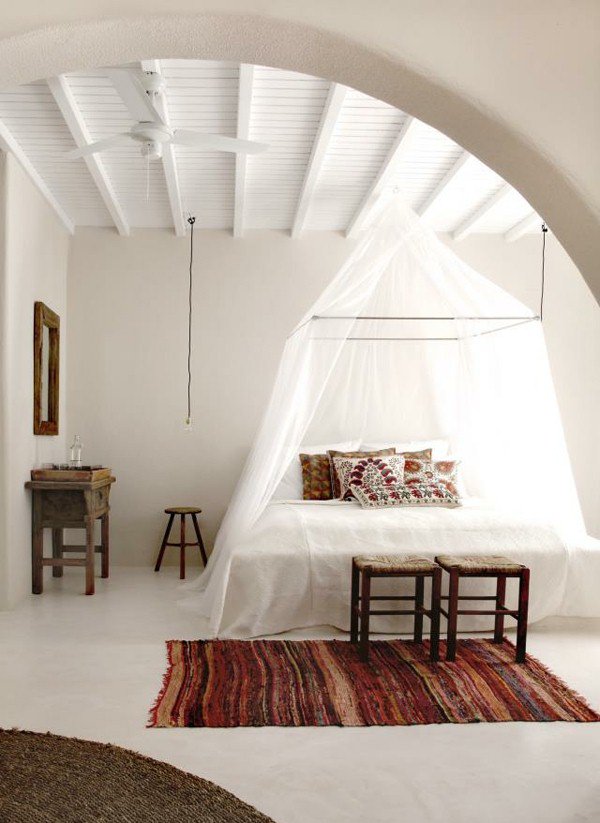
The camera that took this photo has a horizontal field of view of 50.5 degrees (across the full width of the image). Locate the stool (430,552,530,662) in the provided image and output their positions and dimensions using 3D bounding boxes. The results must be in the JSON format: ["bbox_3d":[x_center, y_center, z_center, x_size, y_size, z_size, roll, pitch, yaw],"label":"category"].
[{"bbox_3d":[0.884,0.892,3.146,0.558,0.595,0.457,1,-7,0],"label":"stool"}]

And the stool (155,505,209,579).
[{"bbox_3d":[-0.893,0.985,4.841,0.468,0.596,0.482,0,-8,13],"label":"stool"}]

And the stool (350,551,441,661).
[{"bbox_3d":[0.414,0.912,3.157,0.468,0.589,0.417,0,1,-3],"label":"stool"}]

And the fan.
[{"bbox_3d":[-0.613,-1.391,2.911,0.897,0.346,0.823,-2,2,-11],"label":"fan"}]

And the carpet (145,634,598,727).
[{"bbox_3d":[0.247,1.125,2.733,1.737,0.054,0.902,1,-2,-3],"label":"carpet"}]

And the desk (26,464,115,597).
[{"bbox_3d":[-1.536,0.783,4.279,0.462,0.794,0.545,1,-2,-9],"label":"desk"}]
